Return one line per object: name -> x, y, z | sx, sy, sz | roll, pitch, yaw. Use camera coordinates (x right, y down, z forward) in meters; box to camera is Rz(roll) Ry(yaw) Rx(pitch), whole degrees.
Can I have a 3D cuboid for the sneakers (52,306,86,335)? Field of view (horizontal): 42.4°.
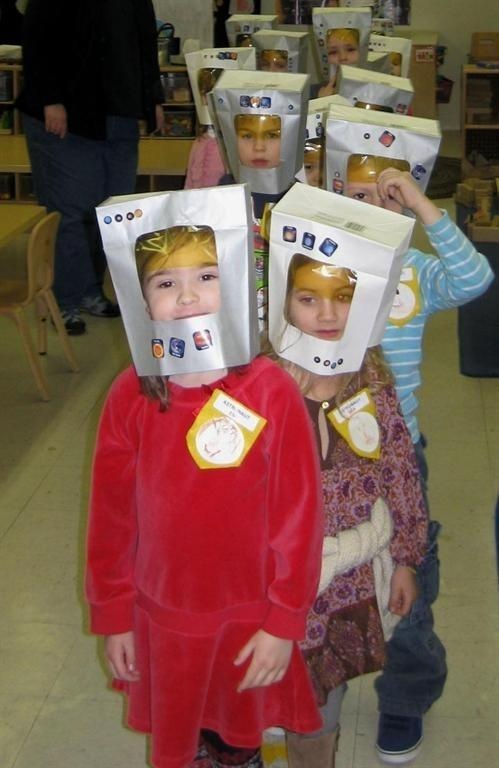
sneakers -> -0.986, -0.337, 3.560 | 0.194, 0.128, 0.071 | -4, -15, -9
